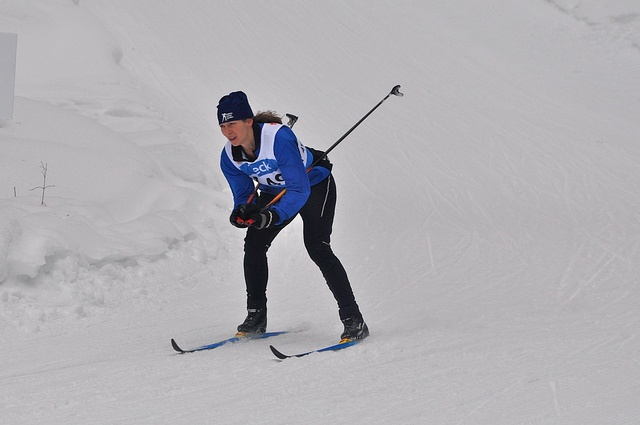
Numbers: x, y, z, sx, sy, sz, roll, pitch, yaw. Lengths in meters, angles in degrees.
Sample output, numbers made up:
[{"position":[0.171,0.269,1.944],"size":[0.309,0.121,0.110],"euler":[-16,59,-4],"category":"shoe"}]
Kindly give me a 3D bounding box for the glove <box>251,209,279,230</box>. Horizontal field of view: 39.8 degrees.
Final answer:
[{"position":[-0.600,0.063,9.497],"size":[0.247,0.219,0.169],"euler":[41,37,16],"category":"glove"}]

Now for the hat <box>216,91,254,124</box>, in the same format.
[{"position":[-0.956,-1.144,9.732],"size":[0.323,0.303,0.404],"euler":[-7,-2,7],"category":"hat"}]
